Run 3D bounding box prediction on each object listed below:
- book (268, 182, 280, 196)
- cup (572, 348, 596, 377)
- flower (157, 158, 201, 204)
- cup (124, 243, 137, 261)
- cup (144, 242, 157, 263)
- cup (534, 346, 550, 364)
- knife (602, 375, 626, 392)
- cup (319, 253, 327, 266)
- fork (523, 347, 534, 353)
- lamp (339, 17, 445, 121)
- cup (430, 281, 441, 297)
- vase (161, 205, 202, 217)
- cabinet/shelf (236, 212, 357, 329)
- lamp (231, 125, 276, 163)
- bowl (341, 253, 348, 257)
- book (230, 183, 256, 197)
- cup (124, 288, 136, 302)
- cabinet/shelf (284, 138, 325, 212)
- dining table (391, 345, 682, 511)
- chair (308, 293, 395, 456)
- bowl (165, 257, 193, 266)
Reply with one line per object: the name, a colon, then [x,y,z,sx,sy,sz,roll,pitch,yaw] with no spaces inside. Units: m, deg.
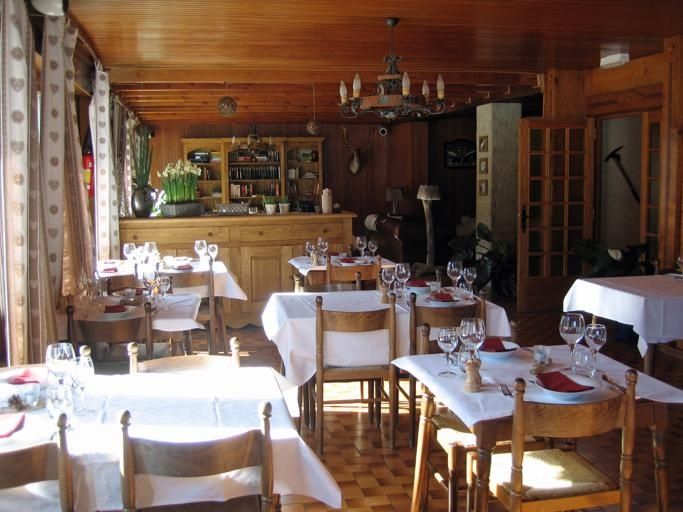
book: [-1.557,-1.524,13.794,0.276,0.369,0.375,2,-3,-22]
cup: [1.108,0.485,2.703,0.099,0.160,0.110,-3,0,11]
flower: [-1.997,-0.926,7.308,0.421,0.537,0.458,-4,5,-18]
cup: [-2.058,-0.040,5.734,0.102,0.176,0.400,-4,4,-20]
cup: [-1.820,-0.036,5.626,0.135,0.195,0.478,-4,4,-19]
cup: [0.994,0.479,2.899,0.083,0.071,0.075,-6,9,-36]
knife: [1.184,0.555,2.545,0.039,0.028,0.145,8,6,3]
cup: [-0.196,0.031,6.169,0.106,0.107,0.195,-2,-20,1]
fork: [0.975,0.491,3.072,0.051,0.015,0.051,3,0,38]
lamp: [0.526,-1.974,6.046,1.084,1.065,1.091,-1,5,-9]
cup: [0.714,0.244,4.531,0.090,0.097,0.083,0,2,0]
vase: [-1.925,-0.567,7.171,0.295,0.097,0.217,-3,1,-26]
cabinet/shelf: [-0.550,0.136,6.086,1.372,1.292,0.539,0,-1,-16]
lamp: [-1.959,-2.445,13.250,0.971,1.093,0.651,0,2,-18]
bowl: [0.029,-0.019,6.510,0.046,0.032,0.044,0,4,0]
book: [-2.278,-1.511,13.493,0.505,0.289,0.481,1,0,-13]
cup: [-1.589,0.289,4.408,0.098,0.101,0.115,1,-6,4]
cabinet/shelf: [-0.865,-1.936,13.834,0.928,1.724,0.450,-3,5,-4]
dining table: [0.855,0.613,2.708,0.964,0.722,0.855,-1,-3,-14]
chair: [0.085,0.729,4.011,0.572,1.058,0.836,-3,4,-3]
bowl: [-1.670,0.046,6.003,0.179,0.043,0.181,1,5,0]
